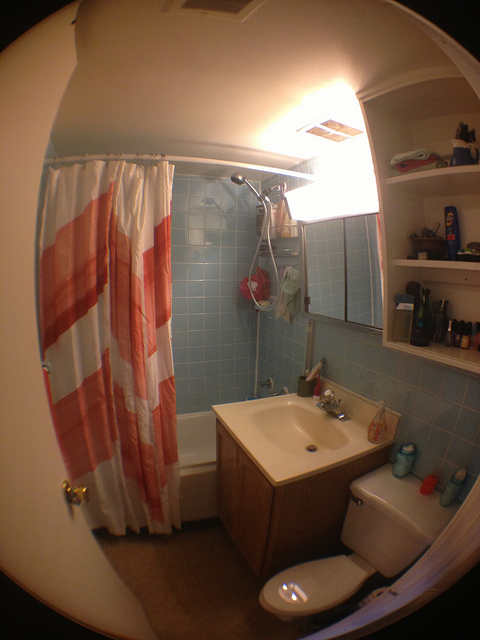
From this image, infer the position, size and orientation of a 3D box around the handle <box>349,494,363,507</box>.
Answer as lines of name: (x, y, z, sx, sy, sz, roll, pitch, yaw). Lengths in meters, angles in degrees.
handle: (0.266, 0.415, 1.052, 0.027, 0.010, 0.028, 44, -6, 26)

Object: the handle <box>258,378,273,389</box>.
handle: (0.111, 0.286, 1.993, 0.038, 0.067, 0.062, 0, -24, -16)

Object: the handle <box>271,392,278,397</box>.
handle: (0.140, 0.301, 1.855, 0.018, 0.027, 0.037, 6, 8, 20)

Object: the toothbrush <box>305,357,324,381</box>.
toothbrush: (0.259, 0.175, 1.616, 0.055, 0.083, 0.130, 4, -15, -5)

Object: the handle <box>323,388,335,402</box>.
handle: (0.291, 0.244, 1.499, 0.034, 0.053, 0.083, -1, -15, 16)

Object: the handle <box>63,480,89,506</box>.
handle: (-0.141, 0.151, 0.396, 0.017, 0.010, 0.021, 7, 10, -35)

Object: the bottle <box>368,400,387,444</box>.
bottle: (0.367, 0.271, 1.221, 0.037, 0.116, 0.072, 5, -14, -11)

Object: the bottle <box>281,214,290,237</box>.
bottle: (0.165, -0.338, 1.651, 0.029, 0.066, 0.087, 3, -15, -1)
